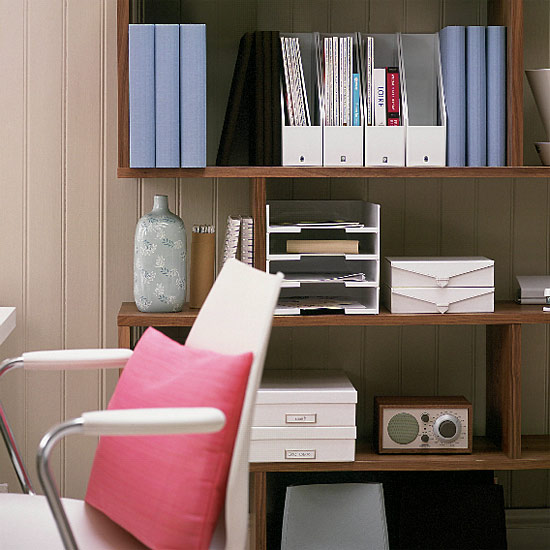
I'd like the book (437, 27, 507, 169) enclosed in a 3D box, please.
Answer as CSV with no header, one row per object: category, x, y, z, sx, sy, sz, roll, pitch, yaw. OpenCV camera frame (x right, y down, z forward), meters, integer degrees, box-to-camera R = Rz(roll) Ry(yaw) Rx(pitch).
book,0.559,-0.499,1.826,0.185,0.376,0.093,2,14,9

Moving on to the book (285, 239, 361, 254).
book,0.133,-0.076,1.862,0.201,0.041,0.039,1,8,0

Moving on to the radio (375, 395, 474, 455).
radio,0.455,0.461,2.003,0.247,0.145,0.195,-2,-2,12
